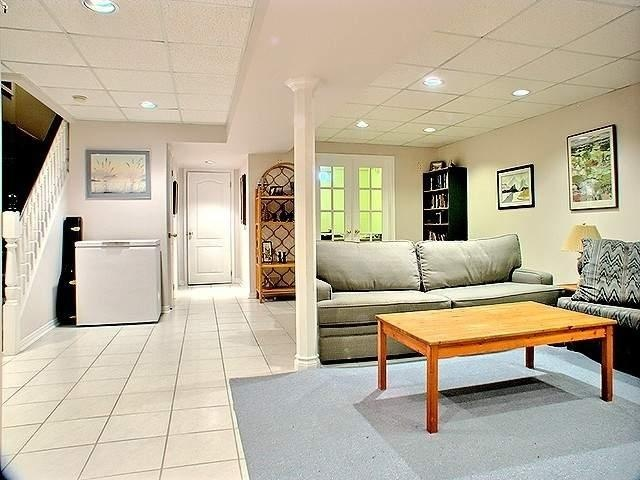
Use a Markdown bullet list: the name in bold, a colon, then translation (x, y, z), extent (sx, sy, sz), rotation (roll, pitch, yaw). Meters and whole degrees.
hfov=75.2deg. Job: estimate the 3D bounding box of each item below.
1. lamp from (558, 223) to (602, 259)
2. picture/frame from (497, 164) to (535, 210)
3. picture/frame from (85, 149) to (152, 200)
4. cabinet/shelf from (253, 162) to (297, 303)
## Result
- **lamp**: translation (3.127, 0.001, 5.067), extent (0.404, 0.398, 0.398), rotation (-7, 7, -35)
- **picture/frame**: translation (3.025, -0.816, 6.384), extent (0.052, 0.759, 0.755), rotation (2, -2, -22)
- **picture/frame**: translation (-2.913, -0.919, 5.901), extent (0.729, 0.599, 0.052), rotation (0, -4, -14)
- **cabinet/shelf**: translation (-0.784, -0.152, 7.001), extent (0.710, 2.303, 0.787), rotation (-2, 5, -6)
